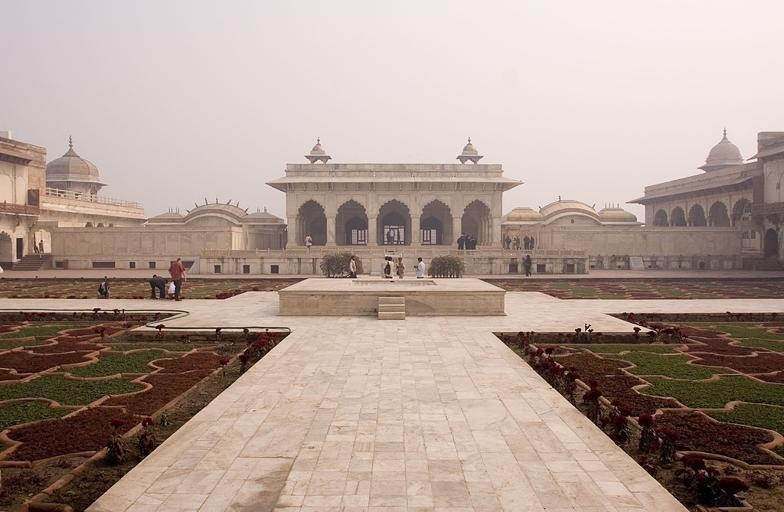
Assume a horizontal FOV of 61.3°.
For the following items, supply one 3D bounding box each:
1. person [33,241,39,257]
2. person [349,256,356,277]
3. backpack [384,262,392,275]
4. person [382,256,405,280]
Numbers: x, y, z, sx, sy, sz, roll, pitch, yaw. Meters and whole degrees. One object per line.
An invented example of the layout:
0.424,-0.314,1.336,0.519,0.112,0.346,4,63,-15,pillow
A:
-18.814,-0.478,34.954,0.221,0.642,1.157,-2,-1,-28,person
-1.412,0.372,22.777,0.184,0.659,0.539,-2,-1,-16,person
-0.157,0.388,20.033,0.143,0.464,0.365,-2,-1,9,backpack
0.029,0.386,22.253,0.936,0.837,0.789,-3,3,-34,person
